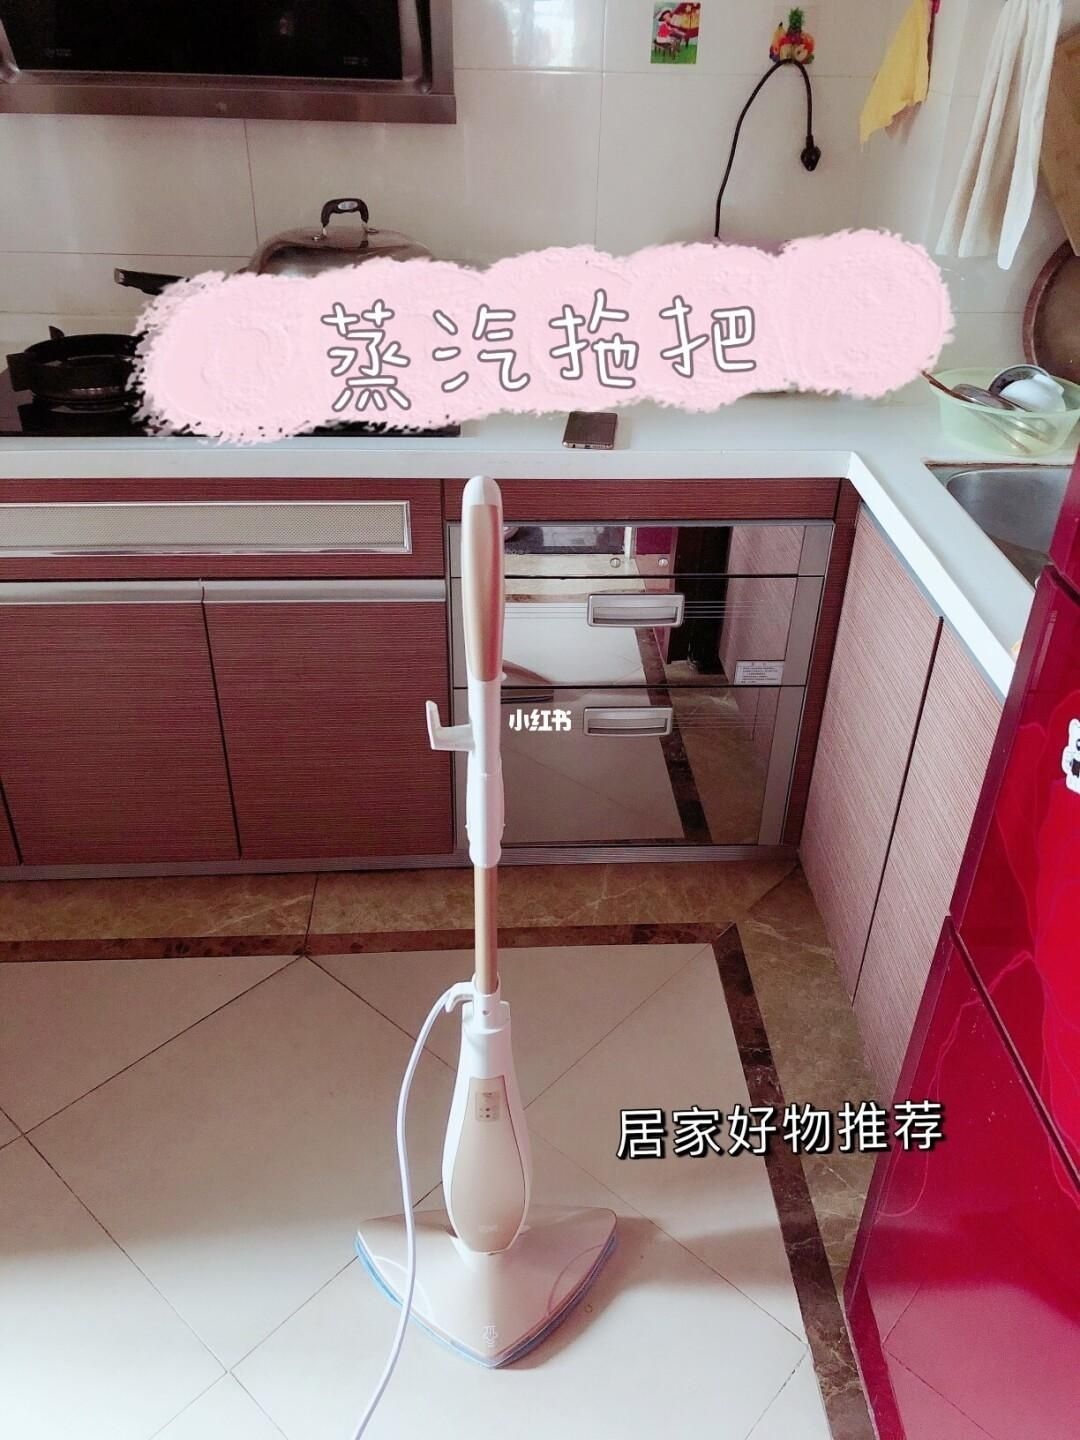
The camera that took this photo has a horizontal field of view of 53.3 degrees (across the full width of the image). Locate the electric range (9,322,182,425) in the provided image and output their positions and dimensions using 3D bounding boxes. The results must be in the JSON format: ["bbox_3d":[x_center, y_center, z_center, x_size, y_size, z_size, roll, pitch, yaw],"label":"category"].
[{"bbox_3d":[-0.731,-0.541,1.705,0.207,0.187,0.295,-8,14,-20],"label":"electric range"}]

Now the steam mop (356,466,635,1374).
[{"bbox_3d":[-0.098,0.275,1.101,0.330,1.015,0.435,-2,14,3],"label":"steam mop"}]
